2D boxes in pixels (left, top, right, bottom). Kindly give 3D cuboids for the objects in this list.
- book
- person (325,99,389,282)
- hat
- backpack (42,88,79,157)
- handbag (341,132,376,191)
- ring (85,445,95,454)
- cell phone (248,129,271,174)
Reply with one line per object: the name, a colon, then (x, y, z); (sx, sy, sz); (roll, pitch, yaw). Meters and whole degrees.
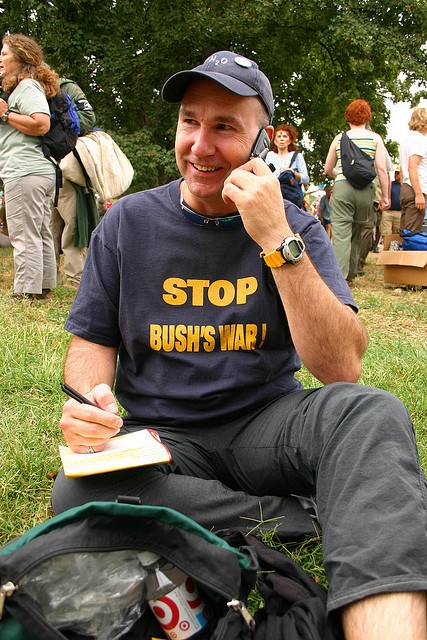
book: (-0.258, 0.333, 1.323); (0.258, 0.060, 0.315); (2, 6, -16)
person: (1.875, -1.772, 6.906); (0.829, 2.563, 1.204); (2, 3, 19)
hat: (0.045, -0.788, 1.730); (0.305, 0.171, 0.220); (23, 3, -46)
backpack: (-1.464, -1.814, 4.986); (0.289, 0.701, 0.287); (-6, 18, -27)
handbag: (1.787, -2.001, 6.644); (0.377, 0.616, 0.278); (-15, -8, -17)
ring: (-0.322, 0.338, 1.354); (0.016, 0.016, 0.004); (-7, -28, -36)
cell phone: (0.164, -0.585, 1.778); (0.030, 0.118, 0.129); (14, 49, 20)
